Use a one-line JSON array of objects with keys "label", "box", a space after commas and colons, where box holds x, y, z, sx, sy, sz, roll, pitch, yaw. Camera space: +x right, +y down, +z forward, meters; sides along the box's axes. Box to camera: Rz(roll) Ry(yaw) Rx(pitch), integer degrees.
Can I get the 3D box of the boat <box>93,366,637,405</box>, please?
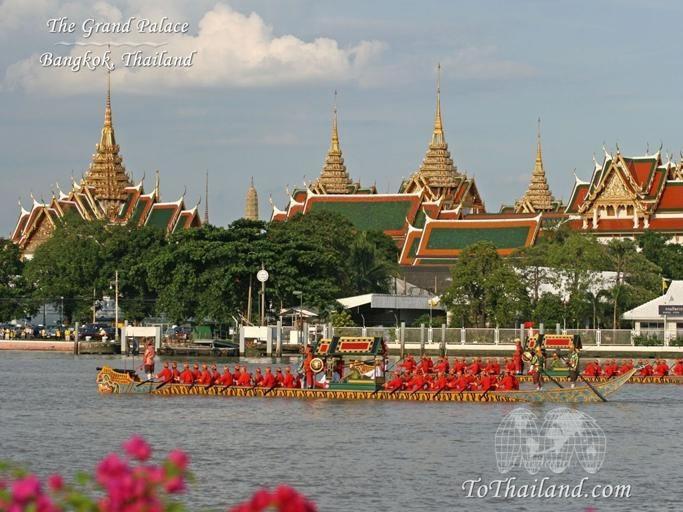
[{"label": "boat", "box": [0.454, 6.330, 115.651, 30.261, 2.594, 2.376, -1, 12, 21]}]
